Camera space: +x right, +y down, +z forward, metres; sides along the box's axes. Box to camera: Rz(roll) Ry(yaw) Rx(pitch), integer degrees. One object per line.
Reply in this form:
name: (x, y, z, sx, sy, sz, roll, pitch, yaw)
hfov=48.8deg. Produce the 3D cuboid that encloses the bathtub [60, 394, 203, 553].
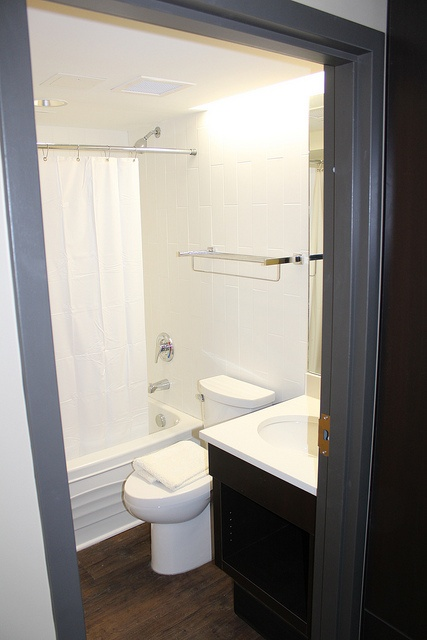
bathtub: (-0.461, 0.780, 2.469, 0.457, 0.307, 0.624, 15, 19, 42)

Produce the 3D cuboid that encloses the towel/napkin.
towel/napkin: (-0.165, 0.657, 2.111, 0.324, 0.062, 0.293, -7, 9, -33)

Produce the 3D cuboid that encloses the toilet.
toilet: (-0.093, 0.736, 2.192, 0.647, 0.820, 0.418, -10, 19, -40)

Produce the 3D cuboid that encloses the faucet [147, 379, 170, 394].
faucet: (-0.350, 0.411, 2.977, 0.072, 0.068, 0.126, 12, 17, 43)
